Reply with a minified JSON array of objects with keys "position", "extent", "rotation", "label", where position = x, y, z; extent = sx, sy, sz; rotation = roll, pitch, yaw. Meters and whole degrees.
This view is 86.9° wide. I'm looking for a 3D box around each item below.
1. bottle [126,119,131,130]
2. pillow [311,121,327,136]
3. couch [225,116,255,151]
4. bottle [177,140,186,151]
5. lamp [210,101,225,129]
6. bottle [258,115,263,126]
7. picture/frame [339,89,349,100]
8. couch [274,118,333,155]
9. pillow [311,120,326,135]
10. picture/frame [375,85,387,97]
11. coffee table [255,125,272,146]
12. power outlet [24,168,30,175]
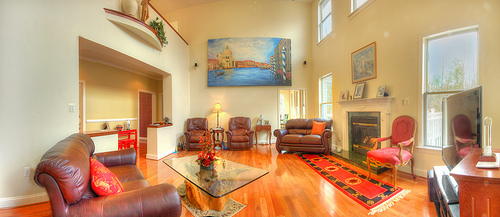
[{"position":[-5.352,0.694,11.563],"extent":[0.183,0.429,0.293],"rotation":[-1,-3,-19],"label":"bottle"},{"position":[2.705,0.771,10.285],"extent":[0.594,0.477,0.208],"rotation":[6,-13,41],"label":"pillow"},{"position":[-0.426,1.046,11.493],"extent":[1.501,1.305,1.359],"rotation":[-1,-5,1],"label":"couch"},{"position":[-2.902,1.562,11.066],"extent":[0.251,0.338,0.405],"rotation":[6,7,43],"label":"bottle"},{"position":[-1.408,0.261,11.592],"extent":[0.459,1.088,0.542],"rotation":[-1,-3,-7],"label":"lamp"},{"position":[0.461,0.488,11.744],"extent":[0.247,0.439,0.198],"rotation":[-2,-3,4],"label":"bottle"},{"position":[3.603,-0.537,10.060],"extent":[0.039,0.382,0.449],"rotation":[13,-10,-15],"label":"picture/frame"},{"position":[2.326,1.202,10.744],"extent":[2.858,1.469,1.434],"rotation":[-2,-5,20],"label":"couch"},{"position":[2.696,0.746,10.311],"extent":[0.620,0.498,0.217],"rotation":[7,-12,40],"label":"pillow"},{"position":[4.505,-0.622,9.036],"extent":[0.043,0.477,0.487],"rotation":[13,-5,-26],"label":"picture/frame"},{"position":[0.572,1.143,11.564],"extent":[0.752,0.887,0.637],"rotation":[-2,-3,3],"label":"coffee table"},{"position":[-6.591,1.845,7.784],"extent":[0.156,0.246,0.021],"rotation":[-1,-3,-9],"label":"power outlet"}]
